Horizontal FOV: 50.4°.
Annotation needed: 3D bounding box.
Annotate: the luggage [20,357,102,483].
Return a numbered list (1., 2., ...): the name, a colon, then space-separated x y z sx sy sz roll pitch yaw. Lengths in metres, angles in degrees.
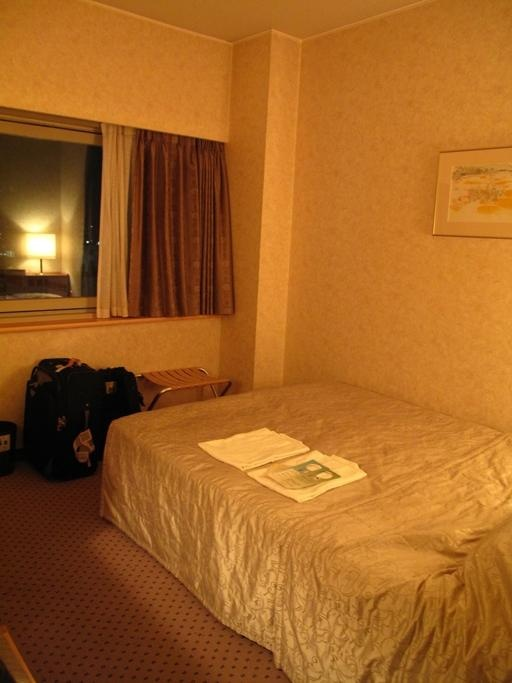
1. luggage: -1.050 0.418 3.026 0.457 0.629 0.363 10 8 42
